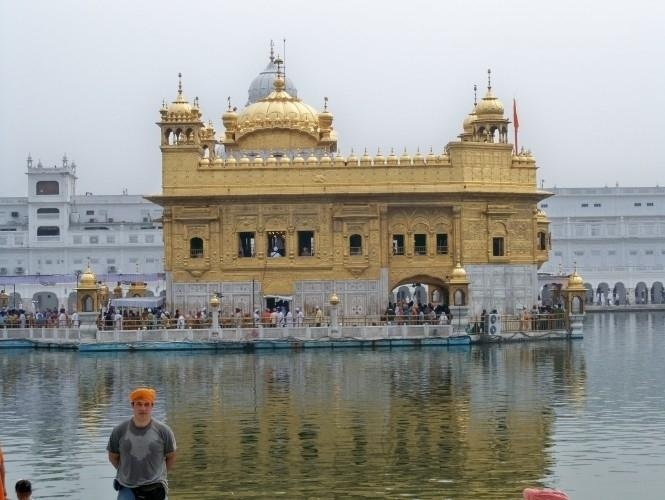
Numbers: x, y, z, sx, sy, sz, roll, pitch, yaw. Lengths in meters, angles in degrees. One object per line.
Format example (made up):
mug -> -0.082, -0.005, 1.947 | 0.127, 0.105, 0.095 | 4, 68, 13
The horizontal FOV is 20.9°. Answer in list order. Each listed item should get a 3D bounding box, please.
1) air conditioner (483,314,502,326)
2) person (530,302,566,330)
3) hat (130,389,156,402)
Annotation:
air conditioner -> 6.485, 2.832, 71.285 | 0.821, 0.712, 0.410 | 0, -2, -4
person -> 8.967, 2.806, 74.066 | 1.209, 0.679, 1.144 | 0, -4, -4
hat -> -4.612, 3.560, 43.704 | 0.575, 0.309, 0.749 | -1, -5, -7
